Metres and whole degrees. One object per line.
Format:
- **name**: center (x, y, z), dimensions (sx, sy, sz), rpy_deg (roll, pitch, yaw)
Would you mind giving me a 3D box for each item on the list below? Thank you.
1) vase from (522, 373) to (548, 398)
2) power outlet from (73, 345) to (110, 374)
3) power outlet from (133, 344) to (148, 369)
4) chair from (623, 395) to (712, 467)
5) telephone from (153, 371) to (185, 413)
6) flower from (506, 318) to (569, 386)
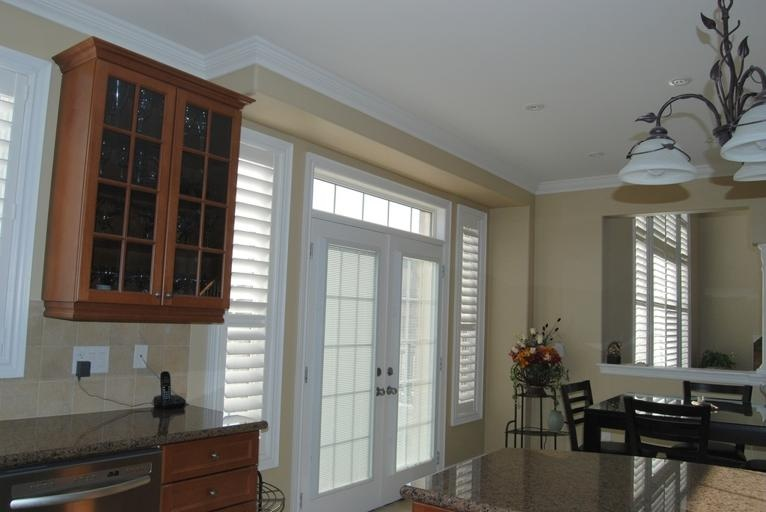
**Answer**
- **vase**: center (1.536, 1.302, 5.471), dimensions (0.234, 0.250, 0.239), rpy_deg (-4, -9, 33)
- **power outlet**: center (-1.748, 0.615, 3.185), dimensions (0.187, 0.154, 0.020), rpy_deg (5, -10, -41)
- **power outlet**: center (-1.537, 0.632, 3.389), dimensions (0.019, 0.150, 0.093), rpy_deg (-6, -11, 32)
- **chair**: center (2.155, 1.332, 4.098), dimensions (0.546, 0.604, 1.282), rpy_deg (-4, -10, 23)
- **telephone**: center (-1.369, 0.838, 3.386), dimensions (0.217, 0.198, 0.216), rpy_deg (1, 2, 22)
- **flower**: center (1.606, 1.007, 5.523), dimensions (0.528, 0.547, 0.484), rpy_deg (-2, -10, -5)
